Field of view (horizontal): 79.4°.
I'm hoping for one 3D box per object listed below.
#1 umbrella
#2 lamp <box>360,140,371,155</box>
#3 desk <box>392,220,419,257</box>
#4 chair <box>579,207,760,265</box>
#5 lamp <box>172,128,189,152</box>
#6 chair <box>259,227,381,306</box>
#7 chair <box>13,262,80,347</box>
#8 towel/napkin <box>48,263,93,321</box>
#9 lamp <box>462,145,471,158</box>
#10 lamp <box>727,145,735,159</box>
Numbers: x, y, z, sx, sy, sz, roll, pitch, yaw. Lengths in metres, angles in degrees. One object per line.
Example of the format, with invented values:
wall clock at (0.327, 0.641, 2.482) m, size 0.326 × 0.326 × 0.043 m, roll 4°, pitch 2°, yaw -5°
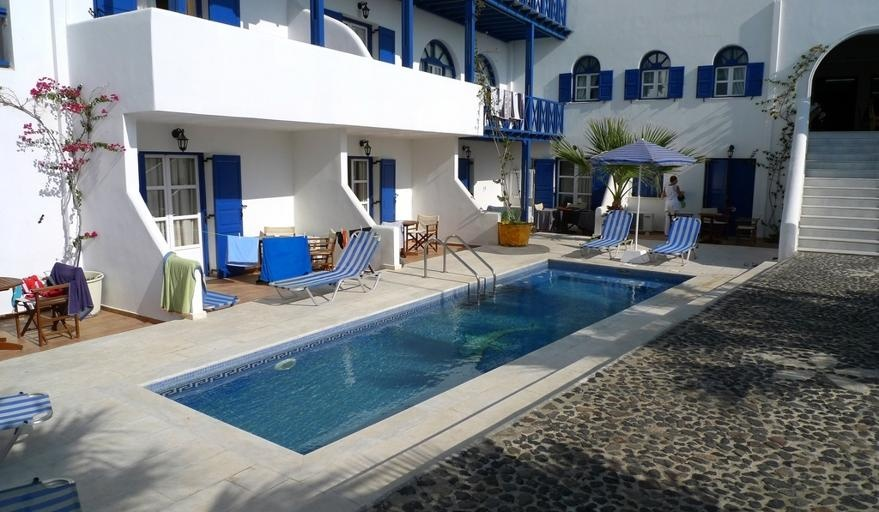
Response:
umbrella at (6.163, -2.008, 16.148) m, size 2.671 × 3.836 × 2.426 m, roll 3°, pitch 6°, yaw 28°
lamp at (-2.310, -3.472, 16.964) m, size 0.224 × 0.511 × 0.480 m, roll 3°, pitch 11°, yaw 27°
desk at (-0.862, -0.607, 17.225) m, size 1.071 × 1.075 × 0.979 m, roll 1°, pitch 10°, yaw -2°
chair at (7.299, -0.581, 16.431) m, size 2.124 × 1.570 × 3.947 m, roll 9°, pitch 15°, yaw 43°
lamp at (-6.336, -2.858, 13.027) m, size 0.205 × 0.555 × 0.417 m, roll 3°, pitch 11°, yaw 27°
chair at (-2.714, 0.231, 12.467) m, size 1.312 × 1.335 × 2.968 m, roll 11°, pitch 14°, yaw 36°
chair at (-7.744, 0.997, 10.389) m, size 0.905 × 1.106 × 0.934 m, roll 2°, pitch 4°, yaw 32°
towel/napkin at (-7.184, 0.721, 10.455) m, size 0.660 × 1.170 × 0.698 m, roll 4°, pitch 0°, yaw -45°
lamp at (1.157, -4.312, 22.001) m, size 0.209 × 0.544 × 0.642 m, roll 1°, pitch 10°, yaw 18°
lamp at (11.198, -4.012, 20.301) m, size 0.271 × 0.455 × 0.148 m, roll 1°, pitch 11°, yaw 20°
